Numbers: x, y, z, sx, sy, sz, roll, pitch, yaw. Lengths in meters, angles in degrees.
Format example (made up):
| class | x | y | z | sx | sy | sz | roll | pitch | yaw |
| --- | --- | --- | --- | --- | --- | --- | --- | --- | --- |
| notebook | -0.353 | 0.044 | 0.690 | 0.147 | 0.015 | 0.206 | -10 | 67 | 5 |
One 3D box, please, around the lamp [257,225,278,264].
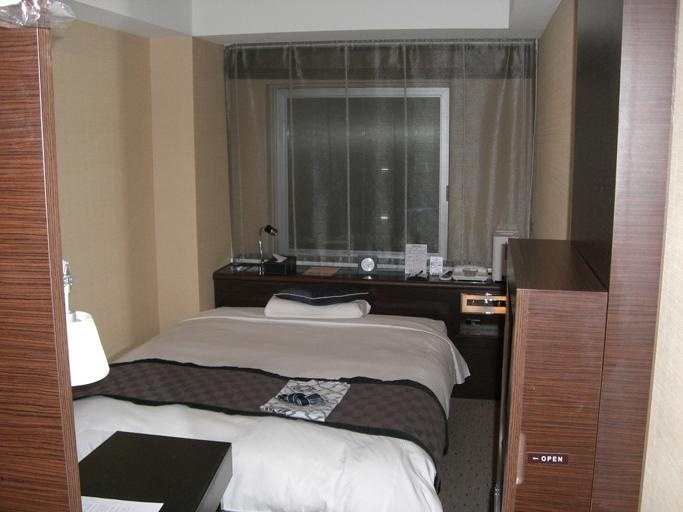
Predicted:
| class | x | y | z | sx | sy | sz | roll | pitch | yaw |
| --- | --- | --- | --- | --- | --- | --- | --- | --- | --- |
| lamp | -0.638 | -0.102 | 4.645 | 0.176 | 0.326 | 0.170 | -2 | 13 | -7 |
